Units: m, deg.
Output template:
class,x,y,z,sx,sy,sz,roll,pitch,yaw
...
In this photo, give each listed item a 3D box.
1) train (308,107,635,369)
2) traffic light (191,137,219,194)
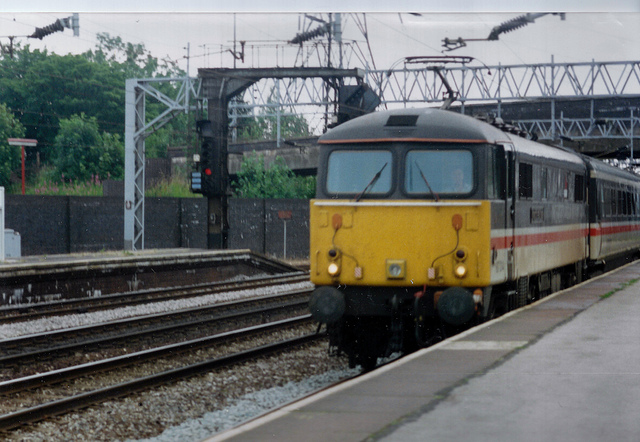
class,x,y,z,sx,sy,sz,roll,pitch,yaw
train,3.794,-0.077,20.930,3.014,5.534,9.920,2,11,37
traffic light,-4.550,-2.394,35.415,0.942,2.083,0.589,0,-1,-14
